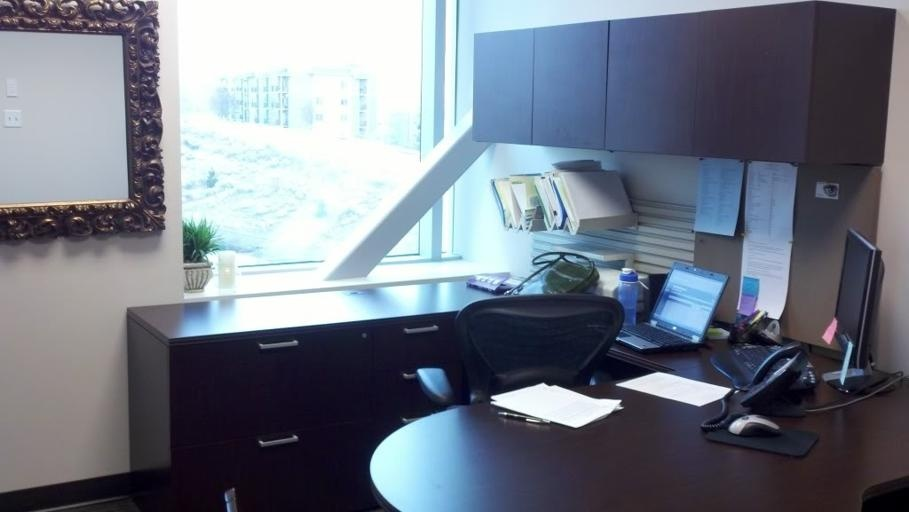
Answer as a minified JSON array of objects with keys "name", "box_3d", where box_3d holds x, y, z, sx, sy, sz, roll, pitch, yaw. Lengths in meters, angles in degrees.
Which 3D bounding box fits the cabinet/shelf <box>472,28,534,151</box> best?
[{"name":"cabinet/shelf","box_3d":[0.317,-1.116,4.031,0.563,0.707,0.159,11,21,39]}]

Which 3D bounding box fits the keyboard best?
[{"name":"keyboard","box_3d":[1.493,0.544,3.116,0.295,0.074,0.296,-20,17,-17]}]

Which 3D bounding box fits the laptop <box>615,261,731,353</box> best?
[{"name":"laptop","box_3d":[1.259,0.307,3.494,0.549,0.361,0.519,-6,13,-20]}]

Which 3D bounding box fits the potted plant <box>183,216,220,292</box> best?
[{"name":"potted plant","box_3d":[-1.735,-0.013,4.080,0.309,0.422,0.308,5,12,-22]}]

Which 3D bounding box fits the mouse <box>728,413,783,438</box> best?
[{"name":"mouse","box_3d":[1.256,0.698,2.541,0.163,0.049,0.096,-4,7,-4]}]
